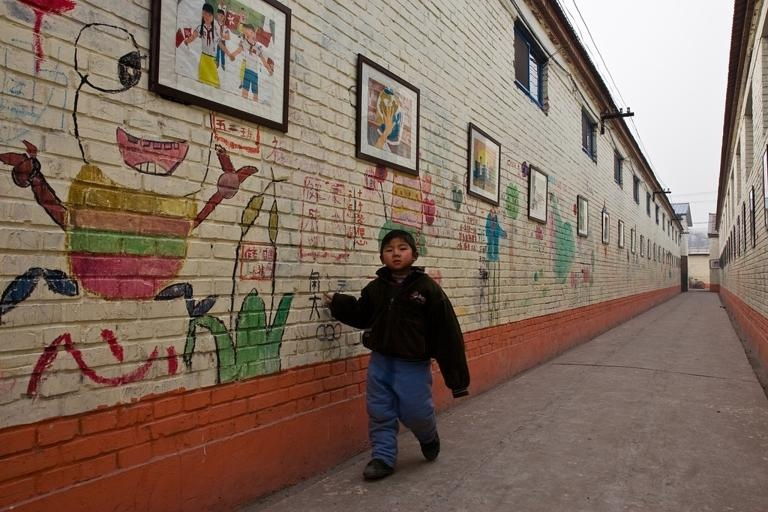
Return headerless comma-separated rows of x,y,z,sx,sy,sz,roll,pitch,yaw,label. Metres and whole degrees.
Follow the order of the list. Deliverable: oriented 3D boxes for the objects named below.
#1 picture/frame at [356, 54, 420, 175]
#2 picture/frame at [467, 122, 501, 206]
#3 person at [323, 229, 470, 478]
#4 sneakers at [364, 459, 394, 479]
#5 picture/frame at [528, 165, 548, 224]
0.005,-1.504,5.013,0.047,1.326,1.364,-5,-10,35,picture/frame
1.385,-1.296,6.645,0.080,1.223,1.216,-4,-7,31,picture/frame
0.161,1.022,4.258,1.161,1.853,0.410,-1,3,-10,person
-0.071,1.865,4.087,0.138,0.111,0.255,-5,-15,26,sneakers
2.748,-1.106,8.463,0.076,1.032,1.090,-2,-5,26,picture/frame
